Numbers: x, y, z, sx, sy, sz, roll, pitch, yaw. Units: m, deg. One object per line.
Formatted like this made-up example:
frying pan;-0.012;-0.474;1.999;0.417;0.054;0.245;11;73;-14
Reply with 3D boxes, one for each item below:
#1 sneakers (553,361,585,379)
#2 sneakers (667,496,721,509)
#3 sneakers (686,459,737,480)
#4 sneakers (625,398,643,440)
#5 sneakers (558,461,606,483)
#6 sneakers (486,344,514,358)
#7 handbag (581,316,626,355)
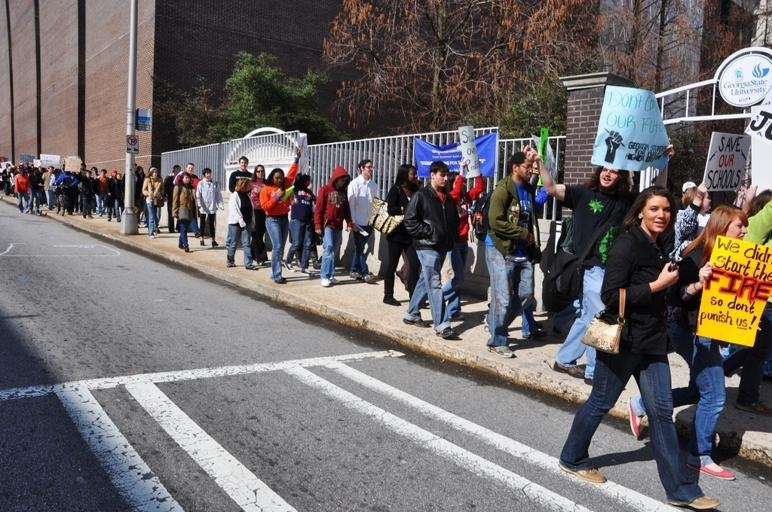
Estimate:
sneakers;2.242;1.399;7.618;0.346;0.163;0.133;2;8;37
sneakers;2.764;2.226;5.557;0.393;0.129;0.182;-11;-12;24
sneakers;3.178;2.096;6.064;0.414;0.145;0.153;-2;1;43
sneakers;2.642;1.737;6.528;0.140;0.122;0.386;-23;38;30
sneakers;1.880;2.076;5.941;0.368;0.173;0.159;3;9;23
sneakers;1.500;1.237;8.160;0.136;0.146;0.340;-14;15;-41
handbag;1.980;0.717;5.694;0.138;0.345;0.314;19;-5;-35
